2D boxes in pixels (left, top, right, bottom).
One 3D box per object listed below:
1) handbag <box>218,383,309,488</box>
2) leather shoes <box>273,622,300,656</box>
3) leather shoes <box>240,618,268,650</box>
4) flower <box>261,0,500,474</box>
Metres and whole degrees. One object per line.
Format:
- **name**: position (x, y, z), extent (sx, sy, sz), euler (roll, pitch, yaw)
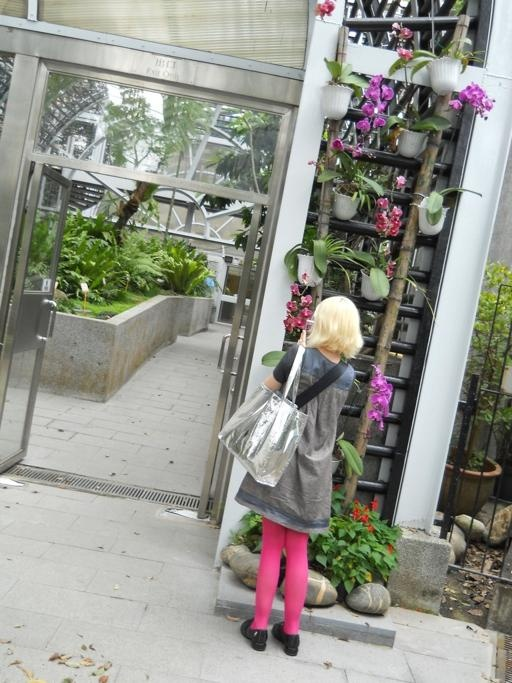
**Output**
- **handbag**: position (0.013, 0.331, 2.102), extent (0.279, 0.346, 0.100), euler (14, 2, 18)
- **leather shoes**: position (0.120, 1.180, 2.296), extent (0.054, 0.055, 0.138), euler (2, 4, -11)
- **leather shoes**: position (0.002, 1.153, 2.278), extent (0.055, 0.053, 0.134), euler (3, 1, -12)
- **flower**: position (0.723, -0.372, 3.019), extent (0.707, 3.069, 0.895), euler (8, -2, -3)
